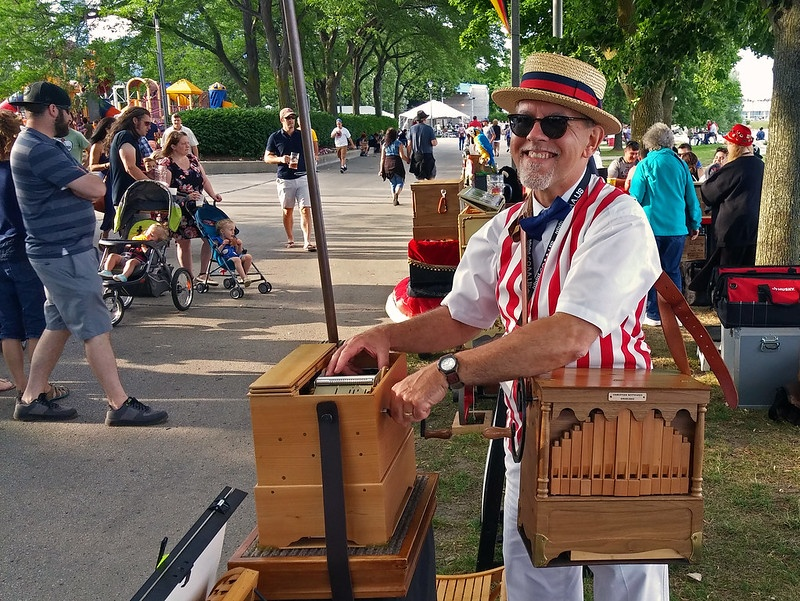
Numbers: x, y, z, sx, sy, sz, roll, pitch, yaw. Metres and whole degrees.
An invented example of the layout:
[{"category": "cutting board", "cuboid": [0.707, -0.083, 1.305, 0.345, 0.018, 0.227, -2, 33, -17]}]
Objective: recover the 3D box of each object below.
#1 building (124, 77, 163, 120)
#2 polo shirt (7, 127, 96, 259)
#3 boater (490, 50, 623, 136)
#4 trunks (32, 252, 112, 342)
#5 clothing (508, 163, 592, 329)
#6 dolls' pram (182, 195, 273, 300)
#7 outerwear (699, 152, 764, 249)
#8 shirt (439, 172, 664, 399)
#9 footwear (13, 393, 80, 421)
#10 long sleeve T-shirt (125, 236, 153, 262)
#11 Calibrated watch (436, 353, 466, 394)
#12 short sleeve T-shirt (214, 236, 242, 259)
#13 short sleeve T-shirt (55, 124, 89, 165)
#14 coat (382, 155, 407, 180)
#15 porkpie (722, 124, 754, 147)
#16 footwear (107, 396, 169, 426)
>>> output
[{"category": "building", "cuboid": [-12.875, -10.385, 40.177, 1.235, 2.172, 1.175, 23, 22, 37]}, {"category": "polo shirt", "cuboid": [-2.670, -0.833, 6.049, 0.540, 0.990, 0.308, -7, 11, -24]}, {"category": "boater", "cuboid": [0.664, -0.825, 3.382, 0.437, 0.147, 0.383, 14, 6, -9]}, {"category": "trunks", "cuboid": [-2.624, -0.087, 6.205, 0.592, 0.747, 0.476, 5, 18, 14]}, {"category": "clothing", "cuboid": [0.774, -0.241, 3.515, 0.403, 0.665, 0.555, 9, 3, -7]}, {"category": "dolls' pram", "cuboid": [-2.305, -0.695, 10.592, 1.015, 1.217, 0.647, 5, 8, 33]}, {"category": "outerwear", "cuboid": [3.749, -1.111, 8.914, 0.616, 1.060, 0.382, 5, 12, 35]}, {"category": "shirt", "cuboid": [0.701, -0.119, 3.620, 0.838, 1.126, 1.170, 1, 1, -41]}, {"category": "footwear", "cuboid": [-2.939, 0.866, 6.630, 0.597, 0.274, 0.210, -1, 7, -14]}, {"category": "long sleeve T-shirt", "cuboid": [-3.148, -0.610, 9.462, 0.244, 0.339, 0.197, 4, -25, 16]}, {"category": "Calibrated watch", "cuboid": [0.195, 0.270, 3.073, 0.093, 0.134, 0.128, -26, 5, 5]}, {"category": "short sleeve T-shirt", "cuboid": [-2.334, -0.708, 10.528, 0.163, 0.261, 0.282, -37, -15, 26]}, {"category": "short sleeve T-shirt", "cuboid": [-5.097, -2.409, 12.189, 0.647, 0.616, 0.218, 9, 37, 11]}, {"category": "coat", "cuboid": [-0.153, -3.238, 18.904, 0.585, 0.788, 0.421, 6, 38, 10]}, {"category": "porkpie", "cuboid": [3.774, -1.849, 8.759, 0.248, 0.146, 0.321, 20, 32, 6]}, {"category": "footwear", "cuboid": [-2.152, 0.917, 6.538, 0.553, 0.255, 0.197, 0, 4, -11]}]
